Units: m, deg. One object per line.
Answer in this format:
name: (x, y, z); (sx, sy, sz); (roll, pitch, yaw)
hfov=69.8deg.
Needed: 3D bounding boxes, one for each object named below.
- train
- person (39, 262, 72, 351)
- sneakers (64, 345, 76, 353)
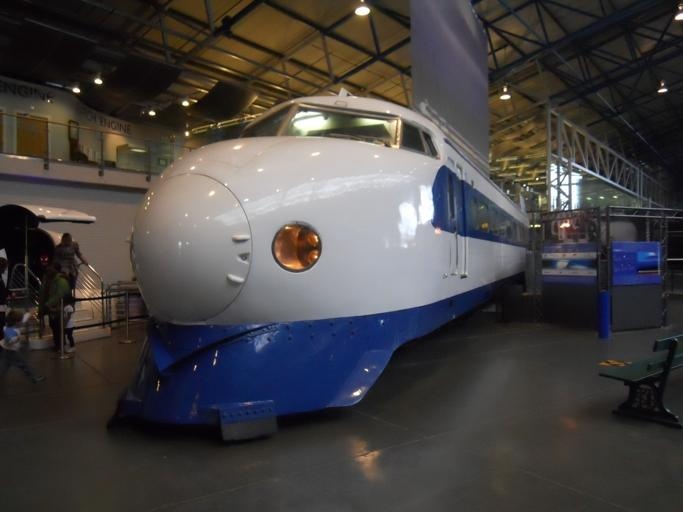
train: (-0.125, -0.177, 6.096); (2.019, 3.780, 4.802); (9, 14, 43)
person: (-5.313, 1.017, 9.107); (0.511, 1.610, 1.151); (-6, 12, -34)
sneakers: (-5.097, 1.734, 9.181); (0.113, 0.167, 0.323); (8, -17, -44)
